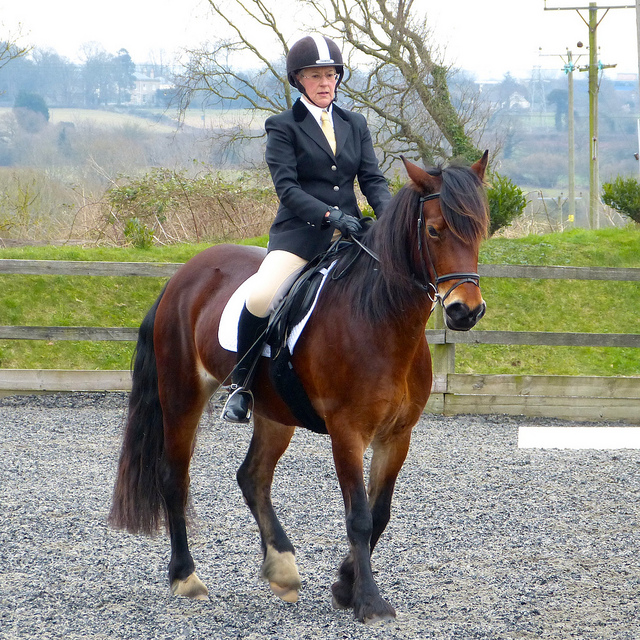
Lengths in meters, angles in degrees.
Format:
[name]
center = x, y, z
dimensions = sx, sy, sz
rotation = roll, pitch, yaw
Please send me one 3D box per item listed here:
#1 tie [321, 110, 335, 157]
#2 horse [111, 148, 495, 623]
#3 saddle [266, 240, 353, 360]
[tie]
center = 0.053, -1.467, 10.826
dimensions = 0.068, 0.405, 0.066
rotation = -1, -25, -13
[horse]
center = -0.160, 0.451, 10.699
dimensions = 2.958, 3.492, 0.952
rotation = 3, 8, 24
[saddle]
center = -0.092, -0.158, 10.719
dimensions = 0.608, 0.903, 0.278
rotation = -3, 8, -25
